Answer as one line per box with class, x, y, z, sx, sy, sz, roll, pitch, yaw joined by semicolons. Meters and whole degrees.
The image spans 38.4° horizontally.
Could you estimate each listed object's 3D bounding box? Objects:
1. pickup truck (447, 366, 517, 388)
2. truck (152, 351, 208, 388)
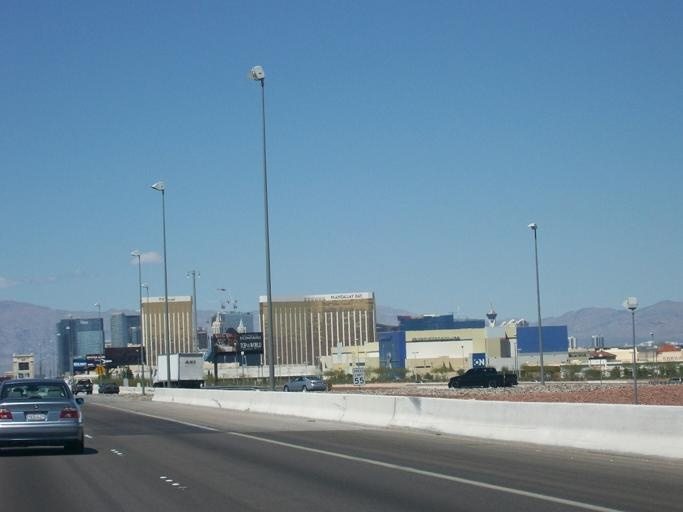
pickup truck;9.320;8.423;66.400;3.761;1.403;1.956;3;-6;-10
truck;-13.301;9.157;78.977;5.064;3.777;3.103;1;2;33
